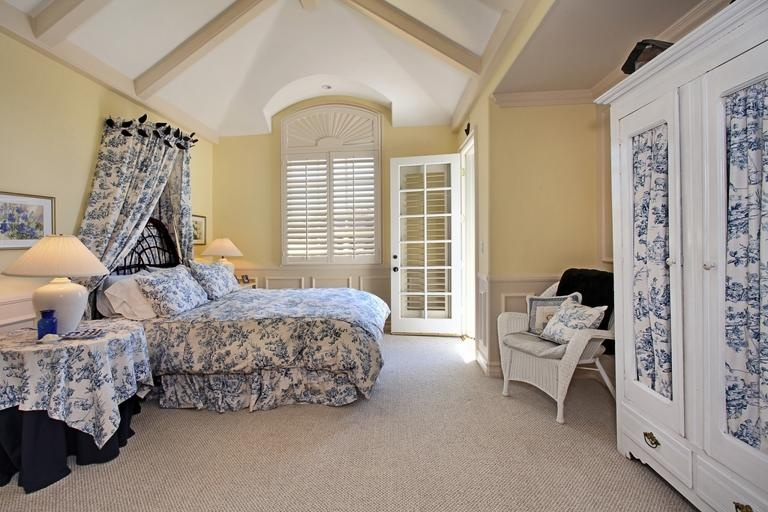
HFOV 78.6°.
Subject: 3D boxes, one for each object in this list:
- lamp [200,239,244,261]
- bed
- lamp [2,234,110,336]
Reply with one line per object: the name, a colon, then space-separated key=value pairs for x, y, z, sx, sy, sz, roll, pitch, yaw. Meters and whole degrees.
lamp: x=-2.121 y=-0.101 z=6.183 sx=0.372 sy=0.374 sz=0.382 roll=4 pitch=8 yaw=22
bed: x=-1.195 y=0.501 z=4.859 sx=2.250 sy=1.541 sz=1.630 roll=-1 pitch=3 yaw=-1
lamp: x=-2.506 y=0.209 z=3.876 sx=0.756 sy=0.835 sz=0.751 roll=3 pitch=3 yaw=13
